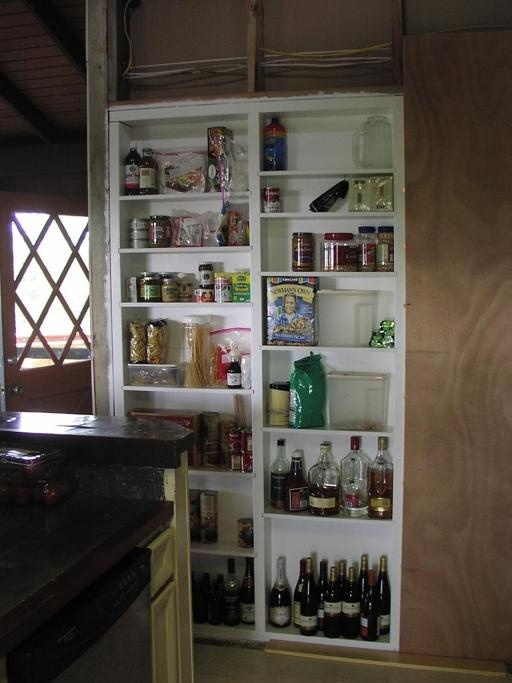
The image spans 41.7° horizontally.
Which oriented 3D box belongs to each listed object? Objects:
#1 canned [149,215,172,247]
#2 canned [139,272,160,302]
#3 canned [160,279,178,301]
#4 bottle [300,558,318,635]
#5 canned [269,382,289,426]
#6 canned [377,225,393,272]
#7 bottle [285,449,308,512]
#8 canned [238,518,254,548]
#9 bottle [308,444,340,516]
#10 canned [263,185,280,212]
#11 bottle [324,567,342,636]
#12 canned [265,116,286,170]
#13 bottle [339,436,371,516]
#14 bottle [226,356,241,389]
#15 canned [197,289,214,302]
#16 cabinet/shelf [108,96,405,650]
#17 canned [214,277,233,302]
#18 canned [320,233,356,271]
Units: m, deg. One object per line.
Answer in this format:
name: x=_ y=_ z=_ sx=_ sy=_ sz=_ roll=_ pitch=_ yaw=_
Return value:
canned: x=-0.386 y=-0.441 z=2.703 sx=0.104 sy=0.170 sz=0.110 roll=0 pitch=3 yaw=-2
canned: x=-0.429 y=-0.216 z=2.714 sx=0.094 sy=0.118 sz=0.100 roll=-1 pitch=0 yaw=-4
canned: x=-0.351 y=-0.202 z=2.706 sx=0.075 sy=0.122 sz=0.078 roll=-2 pitch=3 yaw=-16
bottle: x=0.211 y=1.004 z=2.630 sx=0.079 sy=0.290 sz=0.083 roll=4 pitch=12 yaw=-1
canned: x=0.087 y=0.252 z=2.678 sx=0.083 sy=0.168 sz=0.127 roll=4 pitch=13 yaw=-2
canned: x=0.479 y=-0.345 z=2.520 sx=0.082 sy=0.165 sz=0.049 roll=9 pitch=13 yaw=20
bottle: x=0.163 y=0.549 z=2.654 sx=0.094 sy=0.229 sz=0.118 roll=5 pitch=13 yaw=4
canned: x=-0.044 y=0.777 z=2.716 sx=0.082 sy=0.103 sz=0.087 roll=0 pitch=-2 yaw=-2
bottle: x=0.271 y=0.525 z=2.662 sx=0.127 sy=0.276 sz=0.219 roll=5 pitch=13 yaw=1
canned: x=0.042 y=-0.554 z=2.622 sx=0.082 sy=0.098 sz=0.085 roll=-1 pitch=3 yaw=-9
bottle: x=0.301 y=1.017 z=2.636 sx=0.076 sy=0.265 sz=0.125 roll=7 pitch=13 yaw=10
canned: x=0.071 y=-0.770 z=2.625 sx=0.099 sy=0.205 sz=0.181 roll=5 pitch=13 yaw=1
bottle: x=0.385 y=0.514 z=2.618 sx=0.121 sy=0.325 sz=0.179 roll=6 pitch=13 yaw=7
bottle: x=-0.088 y=0.126 z=2.675 sx=0.064 sy=0.115 sz=0.100 roll=4 pitch=13 yaw=-2
canned: x=-0.202 y=-0.181 z=2.684 sx=0.052 sy=0.044 sz=0.055 roll=-1 pitch=-1 yaw=3
cabinet/shelf: x=0.012 y=0.108 z=2.673 sx=1.333 sy=2.135 sz=0.521 roll=9 pitch=13 yaw=17
canned: x=-0.133 y=-0.204 z=2.654 sx=0.080 sy=0.125 sz=0.089 roll=-2 pitch=5 yaw=-14
canned: x=0.305 y=-0.330 z=2.543 sx=0.129 sy=0.156 sz=0.136 roll=0 pitch=4 yaw=6
